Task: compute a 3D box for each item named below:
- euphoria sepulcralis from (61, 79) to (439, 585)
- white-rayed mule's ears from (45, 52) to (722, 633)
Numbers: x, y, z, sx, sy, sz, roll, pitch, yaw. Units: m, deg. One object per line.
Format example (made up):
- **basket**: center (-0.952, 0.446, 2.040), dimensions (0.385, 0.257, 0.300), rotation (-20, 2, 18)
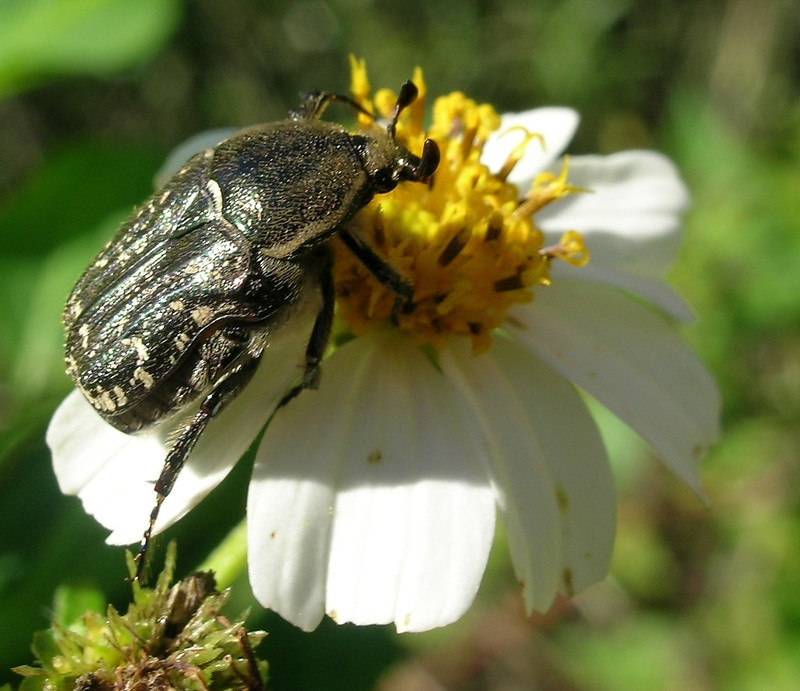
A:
- **euphoria sepulcralis**: center (-0.263, -0.136, 1.981), dimensions (1.070, 0.337, 0.616), rotation (-39, 24, 6)
- **white-rayed mule's ears**: center (0.018, 0.057, 2.300), dimensions (1.284, 0.408, 1.322), rotation (-36, 53, -2)
